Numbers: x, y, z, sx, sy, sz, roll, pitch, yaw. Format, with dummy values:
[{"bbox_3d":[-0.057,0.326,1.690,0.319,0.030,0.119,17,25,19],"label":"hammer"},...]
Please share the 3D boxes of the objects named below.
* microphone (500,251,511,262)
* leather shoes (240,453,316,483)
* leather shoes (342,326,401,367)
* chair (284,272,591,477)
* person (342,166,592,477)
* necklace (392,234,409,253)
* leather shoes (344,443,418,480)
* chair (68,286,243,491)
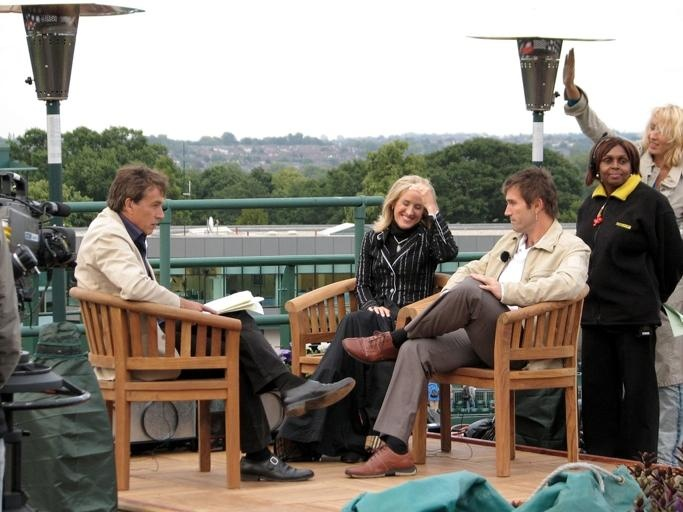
[{"bbox_3d":[0.986,-0.002,6.553,0.045,0.063,0.020,-4,-7,30],"label":"microphone"},{"bbox_3d":[-0.348,1.196,6.126,0.451,0.174,0.150,1,-5,-2],"label":"leather shoes"},{"bbox_3d":[0.116,0.528,6.258,0.411,0.144,0.149,-1,-33,-15],"label":"leather shoes"},{"bbox_3d":[0.790,0.709,6.395,0.875,0.900,1.361,0,-8,-34],"label":"chair"},{"bbox_3d":[0.745,0.349,6.307,1.406,1.748,0.713,-2,-2,4],"label":"person"},{"bbox_3d":[0.366,-0.088,6.902,0.057,0.098,0.040,14,-13,19],"label":"necklace"},{"bbox_3d":[0.240,1.162,6.108,0.445,0.198,0.155,0,-9,-6],"label":"leather shoes"},{"bbox_3d":[-1.047,0.721,6.090,0.912,1.118,0.883,1,-3,-10],"label":"chair"}]
